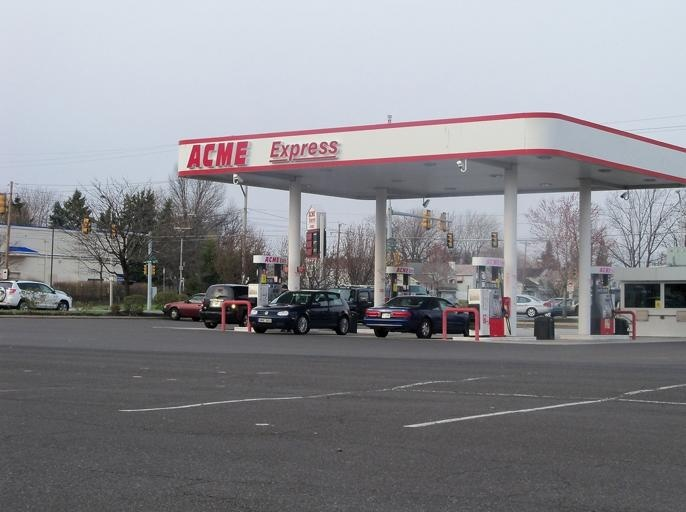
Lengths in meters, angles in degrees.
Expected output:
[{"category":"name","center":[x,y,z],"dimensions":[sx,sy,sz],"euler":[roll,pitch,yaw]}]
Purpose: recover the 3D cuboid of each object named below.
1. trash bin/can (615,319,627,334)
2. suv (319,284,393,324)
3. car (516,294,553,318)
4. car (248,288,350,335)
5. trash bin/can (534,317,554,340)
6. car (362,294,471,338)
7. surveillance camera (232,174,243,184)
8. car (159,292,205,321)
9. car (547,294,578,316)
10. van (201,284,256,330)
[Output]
[{"category":"trash bin/can","center":[10.957,2.762,34.463],"dimensions":[0.508,0.534,0.258],"euler":[3,-5,-36]},{"category":"suv","center":[0.400,1.986,38.282],"dimensions":[1.214,1.199,2.080],"euler":[-3,-7,35]},{"category":"car","center":[13.445,3.522,61.296],"dimensions":[1.974,1.489,2.633],"euler":[2,-4,-13]},{"category":"car","center":[-1.501,2.019,31.786],"dimensions":[1.331,1.605,3.851],"euler":[-2,-5,44]},{"category":"trash bin/can","center":[7.158,2.568,31.037],"dimensions":[0.634,0.778,0.392],"euler":[-3,-6,28]},{"category":"car","center":[2.752,2.166,31.279],"dimensions":[3.881,1.551,1.901],"euler":[4,-5,-35]},{"category":"surveillance camera","center":[-4.297,-3.146,35.661],"dimensions":[0.360,0.374,0.368],"euler":[1,-6,-11]},{"category":"car","center":[-7.984,2.594,43.286],"dimensions":[2.982,1.189,1.603],"euler":[2,-5,16]},{"category":"car","center":[17.318,4.011,69.039],"dimensions":[2.211,1.645,4.579],"euler":[1,6,31]},{"category":"van","center":[-4.799,2.031,35.734],"dimensions":[1.464,1.811,2.248],"euler":[-2,-5,41]}]
